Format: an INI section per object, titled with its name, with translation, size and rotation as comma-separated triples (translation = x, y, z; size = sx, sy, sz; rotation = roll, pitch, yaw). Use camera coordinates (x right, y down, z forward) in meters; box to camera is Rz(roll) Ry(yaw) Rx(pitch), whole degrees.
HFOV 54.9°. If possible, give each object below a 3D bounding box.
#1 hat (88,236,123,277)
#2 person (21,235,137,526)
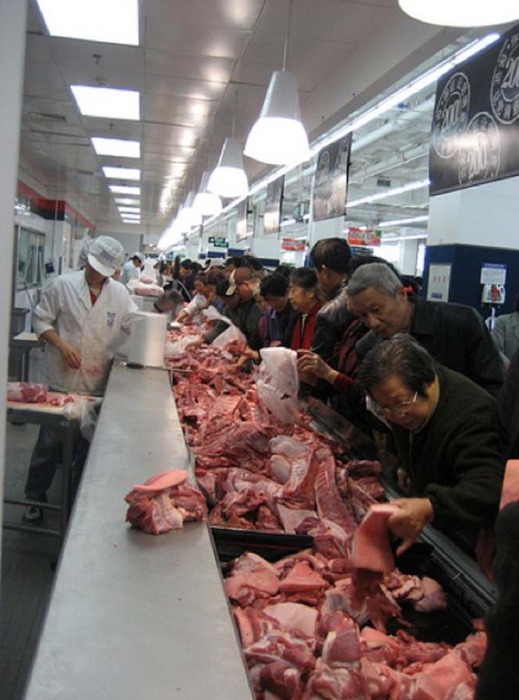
[hat]
translation = -1.102, -0.678, 3.584
size = 0.252, 0.303, 0.245
rotation = 0, 7, -17
[person]
translation = -1.302, 0.172, 3.648
size = 0.813, 2.019, 0.638
rotation = -2, 7, -25
